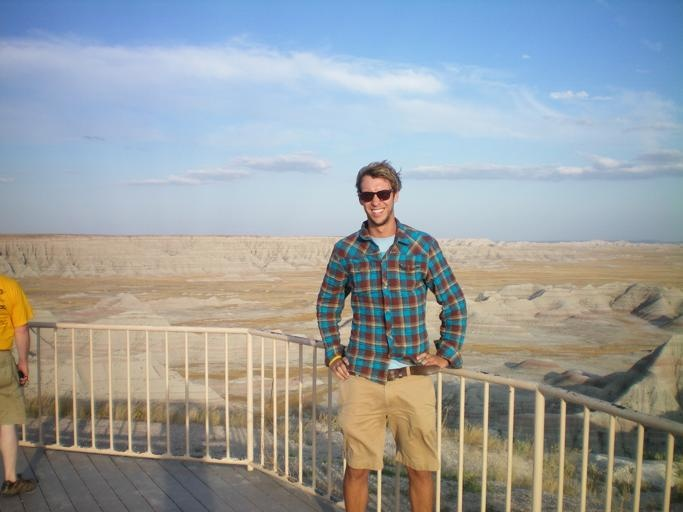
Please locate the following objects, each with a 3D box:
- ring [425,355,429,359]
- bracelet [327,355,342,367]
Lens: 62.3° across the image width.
[{"bbox_3d":[0.667,0.776,4.412,0.029,0.022,0.007,-1,-7,3],"label":"ring"},{"bbox_3d":[-0.051,0.846,4.613,0.124,0.100,0.111,0,-16,-1],"label":"bracelet"}]
